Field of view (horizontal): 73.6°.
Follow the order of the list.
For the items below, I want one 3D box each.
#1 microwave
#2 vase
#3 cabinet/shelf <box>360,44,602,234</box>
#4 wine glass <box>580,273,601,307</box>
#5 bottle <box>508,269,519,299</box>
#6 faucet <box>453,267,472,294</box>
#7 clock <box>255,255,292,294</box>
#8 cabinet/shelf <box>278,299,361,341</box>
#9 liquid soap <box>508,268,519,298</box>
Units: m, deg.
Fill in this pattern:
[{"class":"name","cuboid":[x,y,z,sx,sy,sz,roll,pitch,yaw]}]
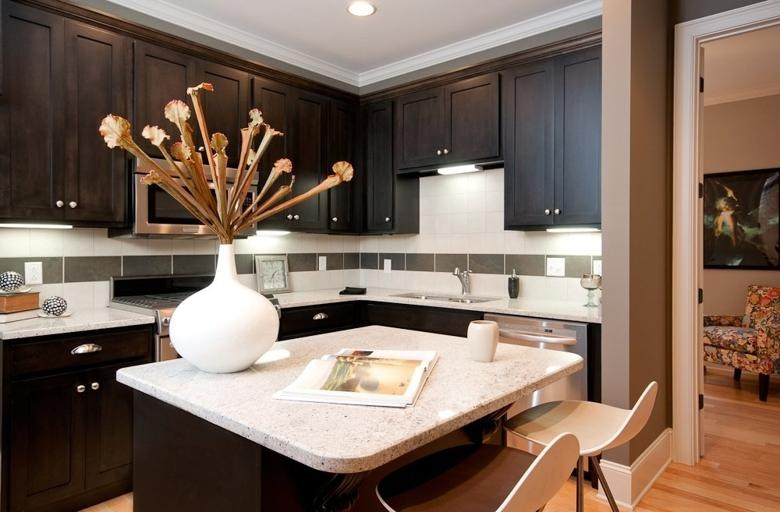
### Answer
[{"class":"microwave","cuboid":[-1.535,-0.437,4.056,0.908,0.555,0.465,-2,15,-38]},{"class":"vase","cuboid":[-0.674,0.192,2.550,0.554,0.594,0.569,1,1,2]},{"class":"cabinet/shelf","cuboid":[0.789,-0.975,4.285,1.705,0.948,0.501,-2,-4,44]},{"class":"wine glass","cuboid":[1.511,0.233,3.920,0.127,0.250,0.350,4,14,23]},{"class":"bottle","cuboid":[1.031,0.229,4.332,0.094,0.212,0.180,1,13,11]},{"class":"faucet","cuboid":[0.648,0.216,4.625,0.140,0.210,0.190,0,13,7]},{"class":"clock","cuboid":[-1.044,0.158,4.636,0.358,0.382,0.050,0,-8,-43]},{"class":"cabinet/shelf","cuboid":[-0.661,0.549,4.394,0.706,0.326,0.216,-2,7,-43]},{"class":"liquid soap","cuboid":[1.031,0.229,4.332,0.094,0.212,0.180,1,13,11]}]
